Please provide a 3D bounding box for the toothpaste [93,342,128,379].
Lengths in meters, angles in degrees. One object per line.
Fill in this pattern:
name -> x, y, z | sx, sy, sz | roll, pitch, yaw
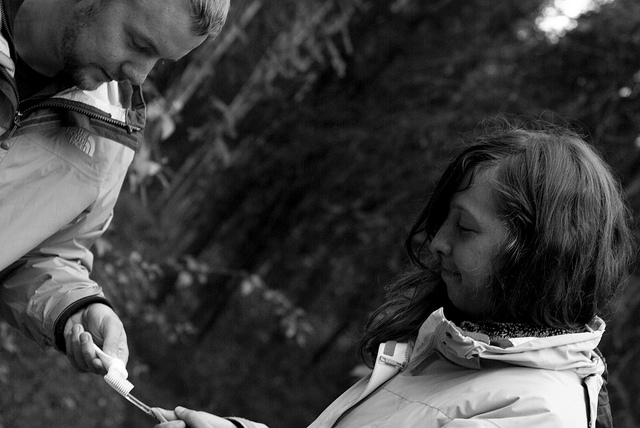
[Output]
toothpaste -> -0.821, 0.582, 3.276 | 0.041, 0.064, 0.203 | 30, 13, -46
